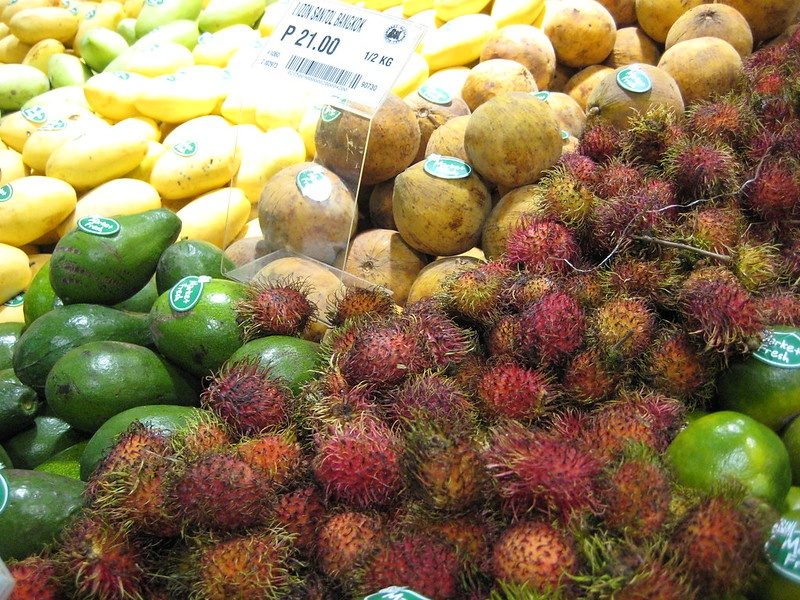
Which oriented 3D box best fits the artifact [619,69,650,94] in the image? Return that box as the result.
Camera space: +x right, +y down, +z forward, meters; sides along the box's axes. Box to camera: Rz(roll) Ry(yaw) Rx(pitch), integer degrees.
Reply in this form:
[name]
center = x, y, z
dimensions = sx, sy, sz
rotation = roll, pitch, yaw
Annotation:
[artifact]
center = 1.016, -0.946, 3.226
dimensions = 0.117, 0.029, 0.127
rotation = 25, 73, 3
